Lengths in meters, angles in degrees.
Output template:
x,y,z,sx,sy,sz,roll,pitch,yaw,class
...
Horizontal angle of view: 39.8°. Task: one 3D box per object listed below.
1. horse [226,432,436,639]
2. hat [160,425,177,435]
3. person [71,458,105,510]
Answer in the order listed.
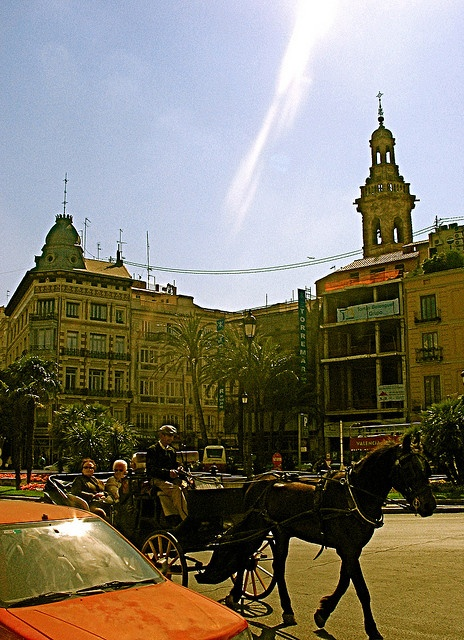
x,y,z,sx,sy,sz,roll,pitch,yaw,class
1.033,2.195,6.693,1.030,1.839,2.241,7,-13,-39,horse
-0.821,1.469,8.525,0.234,0.137,0.182,9,-7,-17,hat
-2.094,2.518,9.618,0.541,0.884,0.487,14,-32,-41,person
